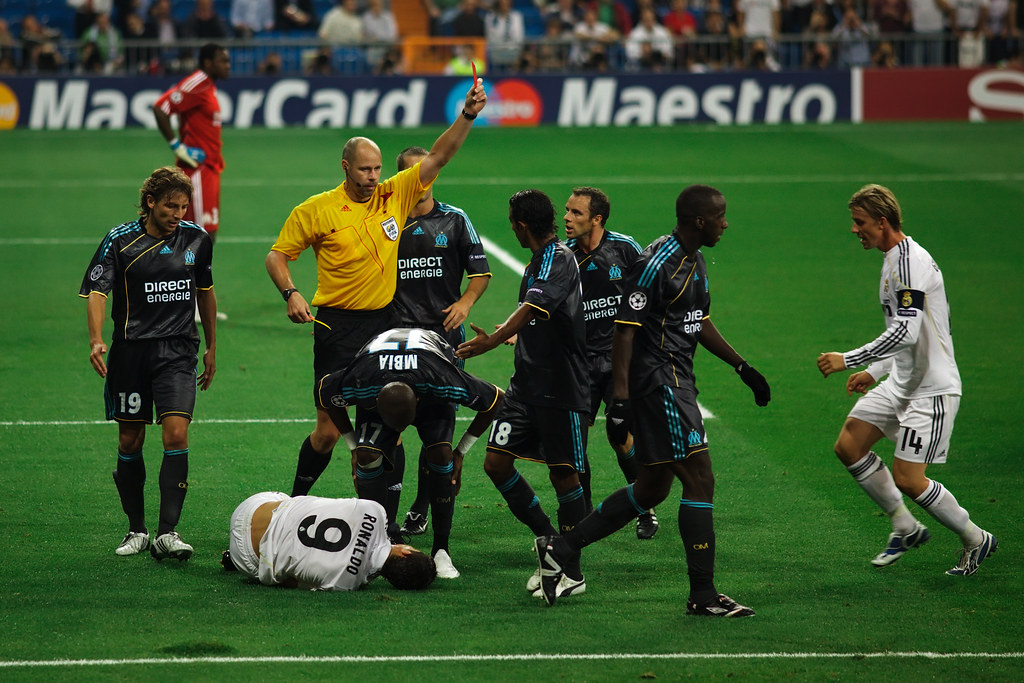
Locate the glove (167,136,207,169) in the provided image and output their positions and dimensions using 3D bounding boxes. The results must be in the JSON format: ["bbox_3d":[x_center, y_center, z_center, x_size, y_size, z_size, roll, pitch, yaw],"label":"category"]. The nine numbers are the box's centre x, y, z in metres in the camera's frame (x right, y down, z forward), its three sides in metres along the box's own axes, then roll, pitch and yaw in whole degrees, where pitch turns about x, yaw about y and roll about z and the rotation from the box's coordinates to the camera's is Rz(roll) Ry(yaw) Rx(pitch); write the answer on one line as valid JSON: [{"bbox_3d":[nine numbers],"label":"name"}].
[{"bbox_3d":[-3.837,-2.190,16.426,0.133,0.399,0.298,-44,8,29],"label":"glove"}]

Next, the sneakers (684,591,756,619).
[{"bbox_3d":[1.635,2.064,10.935,0.504,0.198,0.199,-1,-3,2],"label":"sneakers"}]

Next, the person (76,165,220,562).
[{"bbox_3d":[-2.999,0.173,11.745,1.094,3.192,0.896,-2,8,-18],"label":"person"}]

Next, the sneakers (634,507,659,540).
[{"bbox_3d":[1.179,1.625,12.275,0.162,0.173,0.438,-2,-1,5],"label":"sneakers"}]

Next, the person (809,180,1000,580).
[{"bbox_3d":[3.266,0.322,11.609,1.278,3.161,0.681,3,8,17],"label":"person"}]

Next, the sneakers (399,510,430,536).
[{"bbox_3d":[-0.862,1.620,12.363,0.198,0.159,0.381,1,-3,3],"label":"sneakers"}]

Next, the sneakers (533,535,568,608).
[{"bbox_3d":[0.296,1.826,11.082,0.235,0.537,0.184,-4,6,10],"label":"sneakers"}]

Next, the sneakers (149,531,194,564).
[{"bbox_3d":[-2.877,1.716,11.599,0.438,0.225,0.163,-7,-14,27],"label":"sneakers"}]

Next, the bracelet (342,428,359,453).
[{"bbox_3d":[-1.332,0.838,11.620,0.150,0.165,0.147,-11,3,-3],"label":"bracelet"}]

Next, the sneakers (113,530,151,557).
[{"bbox_3d":[-3.162,1.712,11.782,0.125,0.145,0.349,-4,-4,37],"label":"sneakers"}]

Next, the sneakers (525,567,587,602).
[{"bbox_3d":[0.336,1.955,11.213,0.420,0.177,0.224,6,4,-2],"label":"sneakers"}]

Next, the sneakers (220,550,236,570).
[{"bbox_3d":[-2.302,1.795,11.487,0.154,0.145,0.140,-5,18,-8],"label":"sneakers"}]
